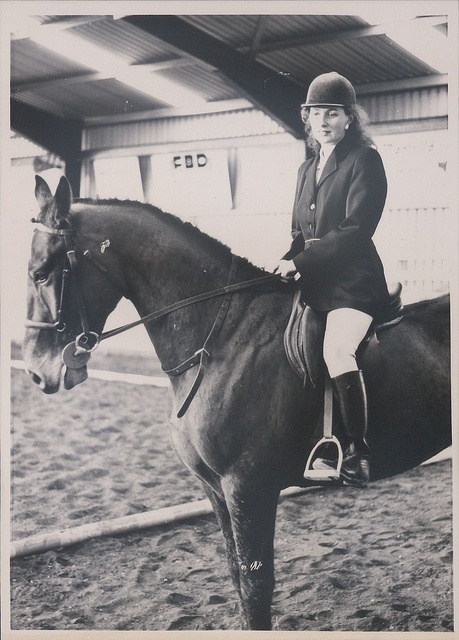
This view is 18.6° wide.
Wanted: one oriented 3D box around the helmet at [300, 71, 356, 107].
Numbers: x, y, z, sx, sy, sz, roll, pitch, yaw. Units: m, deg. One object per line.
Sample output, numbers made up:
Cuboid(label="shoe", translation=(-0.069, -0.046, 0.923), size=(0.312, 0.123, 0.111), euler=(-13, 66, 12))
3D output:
Cuboid(label="helmet", translation=(0.338, -0.763, 4.682), size=(0.110, 0.092, 0.143), euler=(6, 6, 25))
